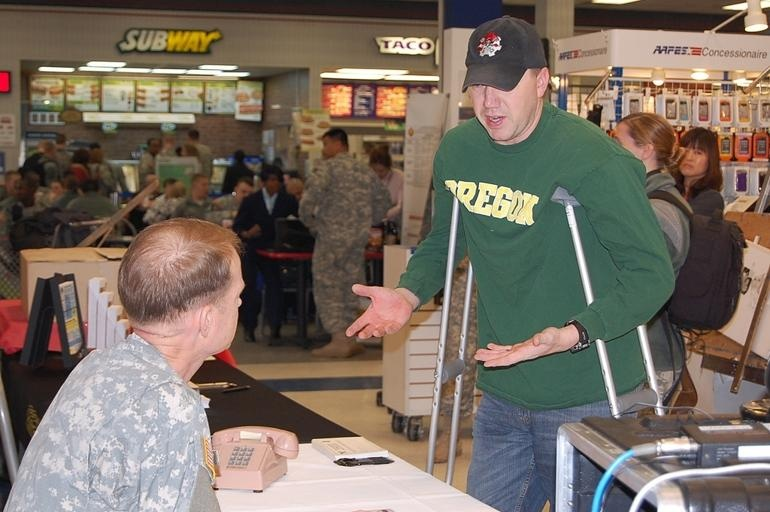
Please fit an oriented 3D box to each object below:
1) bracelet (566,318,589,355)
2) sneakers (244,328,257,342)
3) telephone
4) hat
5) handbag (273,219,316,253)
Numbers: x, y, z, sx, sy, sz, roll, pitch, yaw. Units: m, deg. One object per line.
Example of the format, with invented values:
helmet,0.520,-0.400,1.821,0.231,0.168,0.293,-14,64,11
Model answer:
bracelet,0.590,0.241,2.260,0.038,0.092,0.072,-13,7,14
sneakers,-1.557,0.916,8.687,0.141,0.147,0.134,1,8,5
telephone,-0.447,0.637,2.384,0.293,0.157,0.239,-1,4,18
hat,0.412,-0.685,2.518,0.222,0.172,0.304,9,28,32
handbag,-1.033,-0.191,8.461,0.621,0.388,0.322,3,-9,-21
